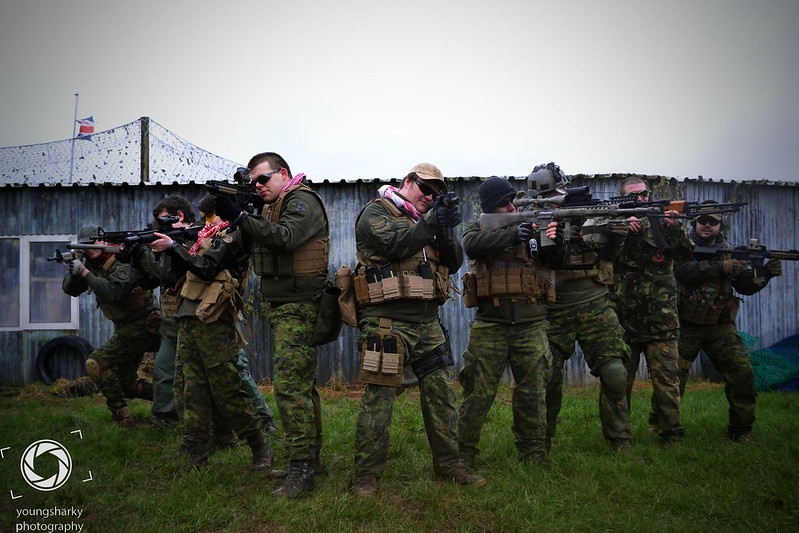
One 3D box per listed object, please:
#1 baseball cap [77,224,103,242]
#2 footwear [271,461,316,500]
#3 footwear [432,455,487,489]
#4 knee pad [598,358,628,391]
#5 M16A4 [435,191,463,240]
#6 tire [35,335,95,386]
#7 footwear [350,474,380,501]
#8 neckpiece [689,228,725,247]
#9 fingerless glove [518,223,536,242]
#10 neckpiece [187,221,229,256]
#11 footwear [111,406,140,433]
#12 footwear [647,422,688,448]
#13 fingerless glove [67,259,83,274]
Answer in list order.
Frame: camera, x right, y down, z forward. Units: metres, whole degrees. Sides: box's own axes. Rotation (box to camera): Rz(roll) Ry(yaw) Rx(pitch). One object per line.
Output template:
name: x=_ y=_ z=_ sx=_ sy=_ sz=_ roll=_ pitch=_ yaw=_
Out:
baseball cap: x=-4.267 y=-0.486 z=8.939 sx=0.322 sy=0.243 sz=0.446 roll=-6 pitch=-6 yaw=-38
footwear: x=-1.134 y=2.265 z=6.915 sx=0.261 sy=0.335 sz=0.445 roll=8 pitch=13 yaw=38
footwear: x=0.648 y=2.269 z=7.173 sx=0.626 sy=0.286 sz=0.244 roll=0 pitch=1 yaw=7
knee pad: x=2.637 y=1.335 z=8.002 sx=0.323 sy=0.388 sz=0.169 roll=0 pitch=9 yaw=3
M16A4: x=0.508 y=-0.556 z=7.075 sx=0.261 sy=0.535 sz=0.358 roll=0 pitch=10 yaw=3
tire: x=-6.122 y=1.741 z=11.865 sx=0.946 sy=1.018 sz=0.356 roll=4 pitch=1 yaw=3
footwear: x=-0.376 y=2.336 z=6.911 sx=0.294 sy=0.194 sz=0.312 roll=0 pitch=10 yaw=-3
neckpiece: x=4.302 y=-0.374 z=9.122 sx=0.300 sy=0.165 sz=0.380 roll=3 pitch=-2 yaw=11
fingerless glove: x=1.464 y=-0.418 z=7.510 sx=0.198 sy=0.221 sz=0.164 roll=4 pitch=-6 yaw=8
neckpiece: x=-2.310 y=-0.322 z=7.920 sx=0.397 sy=0.425 sz=0.135 roll=-4 pitch=-32 yaw=48
footwear: x=-3.798 y=2.104 z=8.938 sx=0.308 sy=0.259 sz=0.523 roll=-6 pitch=12 yaw=-30
footwear: x=3.457 y=2.184 z=8.376 sx=0.489 sy=0.282 sz=0.435 roll=23 pitch=-10 yaw=23
fingerless glove: x=-4.397 y=0.002 z=8.816 sx=0.155 sy=0.186 sz=0.202 roll=11 pitch=15 yaw=-17
